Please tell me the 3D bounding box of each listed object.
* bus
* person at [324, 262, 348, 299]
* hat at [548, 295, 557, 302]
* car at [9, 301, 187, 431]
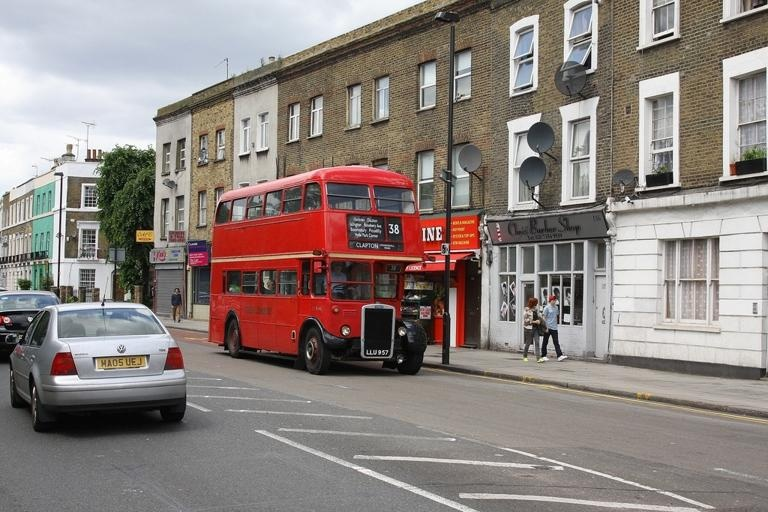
[{"bbox_3d":[-2.133,0.638,23.086,2.999,4.618,6.752,1,-2,-36],"label":"bus"},{"bbox_3d":[-1.267,0.702,21.501,0.629,1.080,0.147,0,2,-36],"label":"person"},{"bbox_3d":[5.517,1.418,24.966,0.271,0.149,0.196,-16,2,8],"label":"hat"},{"bbox_3d":[-5.340,2.006,13.730,3.397,2.226,1.654,2,2,16],"label":"car"}]
